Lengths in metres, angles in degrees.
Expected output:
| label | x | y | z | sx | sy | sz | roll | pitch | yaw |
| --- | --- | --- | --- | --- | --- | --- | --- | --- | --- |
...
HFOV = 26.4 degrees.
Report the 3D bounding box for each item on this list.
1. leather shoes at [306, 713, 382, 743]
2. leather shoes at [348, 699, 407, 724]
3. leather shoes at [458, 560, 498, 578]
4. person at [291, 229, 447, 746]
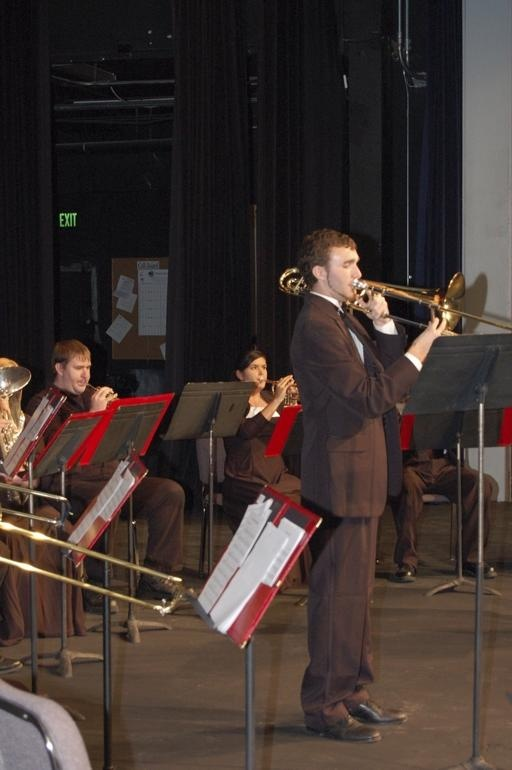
| label | x | y | z | sx | sy | sz | roll | pitch | yaw |
| --- | --- | --- | --- | --- | --- | --- | --- | --- | --- |
| leather shoes | 0.275 | 1.078 | 3.461 | 0.244 | 0.098 | 0.089 | -2 | -6 | 16 |
| leather shoes | 0.387 | 1.061 | 3.514 | 0.232 | 0.089 | 0.076 | 0 | -1 | -6 |
| leather shoes | 1.088 | 0.905 | 5.333 | 0.167 | 0.069 | 0.284 | 0 | 5 | 11 |
| person | 0.337 | 0.411 | 3.438 | 0.436 | 1.400 | 0.303 | -1 | 6 | 1 |
